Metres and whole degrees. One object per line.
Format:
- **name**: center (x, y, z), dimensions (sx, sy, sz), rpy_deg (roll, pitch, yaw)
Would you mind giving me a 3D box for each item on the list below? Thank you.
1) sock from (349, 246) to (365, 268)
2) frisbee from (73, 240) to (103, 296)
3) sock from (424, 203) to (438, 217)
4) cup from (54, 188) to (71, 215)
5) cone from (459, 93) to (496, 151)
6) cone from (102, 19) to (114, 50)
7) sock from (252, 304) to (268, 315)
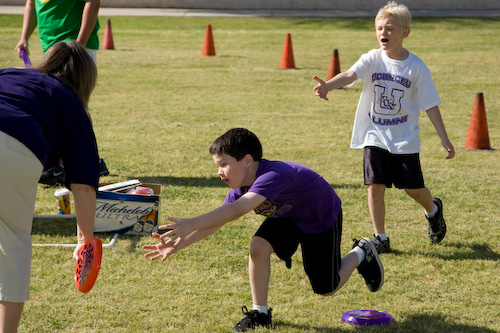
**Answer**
- **sock**: center (0.949, 0.790, 6.927), dimensions (0.079, 0.206, 0.096), rpy_deg (8, 2, 25)
- **frisbee**: center (-1.279, 0.788, 6.112), dimensions (0.089, 0.356, 0.359), rpy_deg (13, 25, -32)
- **sock**: center (1.776, 0.420, 7.670), dimensions (0.085, 0.117, 0.114), rpy_deg (33, 25, -43)
- **cup**: center (-1.951, 0.380, 8.084), dimensions (0.203, 0.264, 0.194), rpy_deg (-5, 6, 1)
- **cone**: center (2.825, -0.544, 9.722), dimensions (0.326, 0.691, 0.358), rpy_deg (0, -5, -4)
- **cone**: center (-2.878, -2.647, 15.683), dimensions (0.236, 0.609, 0.938), rpy_deg (-2, 10, -10)
- **sock**: center (0.085, 1.205, 6.634), dimensions (0.116, 0.108, 0.079), rpy_deg (-1, 3, -15)
